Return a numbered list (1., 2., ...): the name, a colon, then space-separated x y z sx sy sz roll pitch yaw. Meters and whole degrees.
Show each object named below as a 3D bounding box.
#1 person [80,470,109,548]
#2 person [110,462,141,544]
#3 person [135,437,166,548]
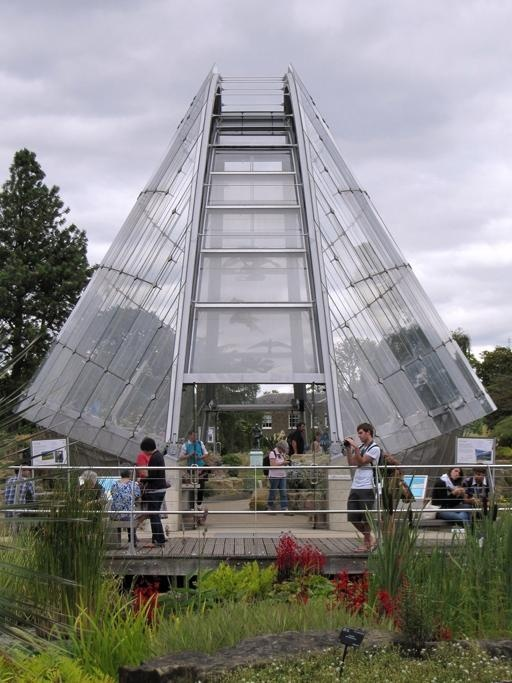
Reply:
1. person: -1.303 1.317 4.556 0.220 0.499 0.868 3 -13 -15
2. person: -1.926 2.474 8.569 0.466 1.263 0.415 3 8 12
3. person: -1.496 2.090 8.220 0.413 1.461 1.753 2 -13 -11
